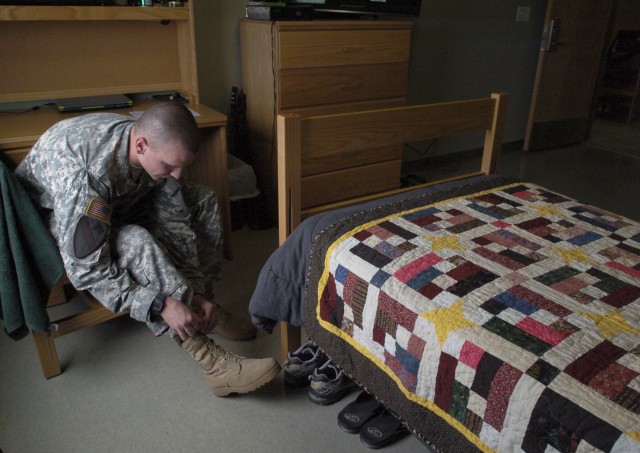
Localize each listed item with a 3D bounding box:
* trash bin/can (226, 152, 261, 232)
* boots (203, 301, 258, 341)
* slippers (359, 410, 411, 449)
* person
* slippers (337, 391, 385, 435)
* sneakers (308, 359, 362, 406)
[{"bbox_3d":[-0.521,-0.211,3.139,0.335,0.459,0.170,0,0,-43],"label":"trash bin/can"},{"bbox_3d":[-0.425,0.478,2.265,0.329,0.114,0.123,13,25,17],"label":"boots"},{"bbox_3d":[0.255,0.793,1.827,0.195,0.057,0.101,-22,42,-27],"label":"slippers"},{"bbox_3d":[-0.726,0.071,1.976,1.096,1.151,0.494,6,29,11],"label":"person"},{"bbox_3d":[0.179,0.751,1.910,0.128,0.069,0.231,30,49,34],"label":"slippers"},{"bbox_3d":[0.052,0.650,2.019,0.277,0.121,0.118,-19,34,-37],"label":"sneakers"}]
